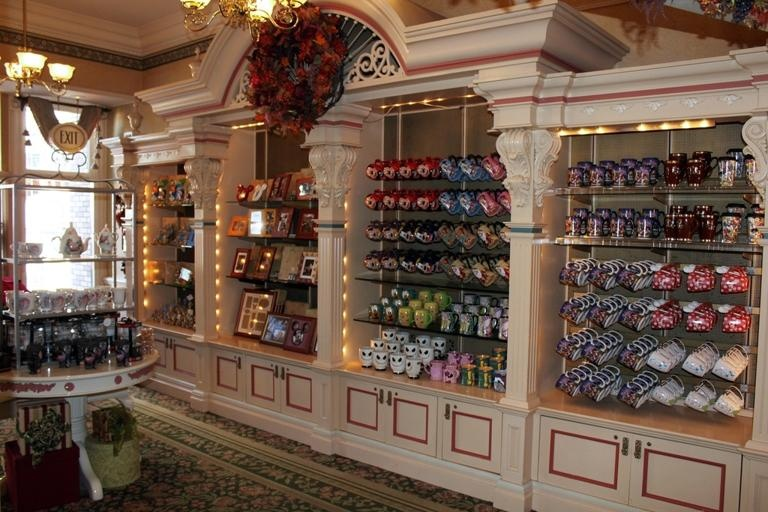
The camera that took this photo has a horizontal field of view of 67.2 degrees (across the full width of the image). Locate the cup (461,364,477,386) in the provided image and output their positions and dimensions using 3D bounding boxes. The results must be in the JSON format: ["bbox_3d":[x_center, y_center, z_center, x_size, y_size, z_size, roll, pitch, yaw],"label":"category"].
[{"bbox_3d":[0.782,1.079,5.246,0.140,0.170,0.118,1,11,2],"label":"cup"}]

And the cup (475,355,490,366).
[{"bbox_3d":[0.897,0.942,5.232,0.103,0.062,0.099,2,7,0],"label":"cup"}]

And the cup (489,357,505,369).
[{"bbox_3d":[1.026,0.963,5.198,0.121,0.073,0.110,1,0,0],"label":"cup"}]

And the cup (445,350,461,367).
[{"bbox_3d":[0.649,0.956,5.387,0.095,0.123,0.145,2,-2,-41],"label":"cup"}]

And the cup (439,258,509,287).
[{"bbox_3d":[0.845,0.134,5.284,0.430,0.140,0.301,-3,6,-44],"label":"cup"}]

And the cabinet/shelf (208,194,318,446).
[{"bbox_3d":[-1.301,0.839,6.488,1.627,1.828,0.541,4,20,27],"label":"cabinet/shelf"}]

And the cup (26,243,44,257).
[{"bbox_3d":[-3.057,-0.054,5.063,0.125,0.088,0.126,0,0,0],"label":"cup"}]

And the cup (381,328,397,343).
[{"bbox_3d":[0.049,0.794,5.753,0.115,0.086,0.127,1,-1,4],"label":"cup"}]

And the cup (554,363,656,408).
[{"bbox_3d":[1.834,1.061,4.742,0.552,0.155,0.396,-4,10,-42],"label":"cup"}]

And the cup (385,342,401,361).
[{"bbox_3d":[0.078,0.919,5.559,0.162,0.144,0.148,0,0,0],"label":"cup"}]

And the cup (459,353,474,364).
[{"bbox_3d":[0.764,0.957,5.384,0.104,0.101,0.110,0,4,0],"label":"cup"}]

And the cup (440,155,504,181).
[{"bbox_3d":[0.780,-0.795,5.228,0.271,0.140,0.410,8,11,43],"label":"cup"}]

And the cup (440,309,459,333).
[{"bbox_3d":[0.617,0.618,5.390,0.158,0.183,0.111,2,11,9],"label":"cup"}]

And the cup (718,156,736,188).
[{"bbox_3d":[2.587,-0.638,4.352,0.121,0.225,0.209,6,12,28],"label":"cup"}]

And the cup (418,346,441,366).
[{"bbox_3d":[0.412,0.944,5.450,0.208,0.124,0.125,-3,5,-30],"label":"cup"}]

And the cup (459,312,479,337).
[{"bbox_3d":[0.765,0.632,5.300,0.173,0.178,0.123,4,11,17],"label":"cup"}]

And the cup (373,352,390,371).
[{"bbox_3d":[-0.049,1.025,5.619,0.196,0.181,0.177,1,0,-2],"label":"cup"}]

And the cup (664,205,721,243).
[{"bbox_3d":[2.361,-0.253,4.445,0.348,0.263,0.145,3,11,16],"label":"cup"}]

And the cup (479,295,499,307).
[{"bbox_3d":[0.976,0.419,5.336,0.113,0.085,0.199,-5,12,-28],"label":"cup"}]

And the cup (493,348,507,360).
[{"bbox_3d":[1.065,0.892,5.281,0.101,0.074,0.102,1,11,0],"label":"cup"}]

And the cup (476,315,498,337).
[{"bbox_3d":[0.913,0.637,5.214,0.107,0.179,0.192,-8,14,-38],"label":"cup"}]

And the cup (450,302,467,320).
[{"bbox_3d":[0.696,0.512,5.412,0.141,0.195,0.129,-2,-2,0],"label":"cup"}]

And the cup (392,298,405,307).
[{"bbox_3d":[0.146,0.457,5.688,0.090,0.057,0.089,-4,7,0],"label":"cup"}]

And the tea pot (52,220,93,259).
[{"bbox_3d":[-2.851,-0.135,5.271,0.233,0.286,0.343,6,7,41],"label":"tea pot"}]

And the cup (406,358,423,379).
[{"bbox_3d":[0.278,1.051,5.367,0.134,0.154,0.205,1,0,35],"label":"cup"}]

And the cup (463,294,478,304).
[{"bbox_3d":[0.820,0.413,5.434,0.118,0.072,0.074,2,-3,-40],"label":"cup"}]

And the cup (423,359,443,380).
[{"bbox_3d":[0.481,1.060,5.366,0.221,0.177,0.127,4,4,5],"label":"cup"}]

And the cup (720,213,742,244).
[{"bbox_3d":[2.625,-0.219,4.371,0.126,0.216,0.171,6,12,27],"label":"cup"}]

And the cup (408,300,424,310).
[{"bbox_3d":[0.318,0.470,5.628,0.155,0.118,0.084,1,-8,33],"label":"cup"}]

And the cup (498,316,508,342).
[{"bbox_3d":[1.052,0.641,5.096,0.077,0.188,0.159,1,11,2],"label":"cup"}]

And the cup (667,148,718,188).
[{"bbox_3d":[2.330,-0.680,4.438,0.387,0.230,0.248,1,4,21],"label":"cup"}]

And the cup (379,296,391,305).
[{"bbox_3d":[0.018,0.467,5.815,0.077,0.052,0.111,-3,-4,31],"label":"cup"}]

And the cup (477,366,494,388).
[{"bbox_3d":[0.912,1.085,5.156,0.130,0.181,0.087,2,11,8],"label":"cup"}]

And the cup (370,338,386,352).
[{"bbox_3d":[-0.059,0.867,5.618,0.110,0.082,0.128,4,7,16],"label":"cup"}]

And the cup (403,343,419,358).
[{"bbox_3d":[0.267,0.904,5.477,0.127,0.111,0.128,0,1,0],"label":"cup"}]

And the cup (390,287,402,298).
[{"bbox_3d":[0.132,0.369,5.735,0.095,0.090,0.090,2,-40,2],"label":"cup"}]

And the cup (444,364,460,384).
[{"bbox_3d":[0.628,1.078,5.304,0.176,0.166,0.171,2,0,0],"label":"cup"}]

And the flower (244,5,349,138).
[{"bbox_3d":[-0.732,-1.701,5.355,0.952,1.020,0.420,17,17,20],"label":"flower"}]

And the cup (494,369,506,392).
[{"bbox_3d":[1.015,1.096,5.030,0.081,0.180,0.081,0,11,0],"label":"cup"}]
